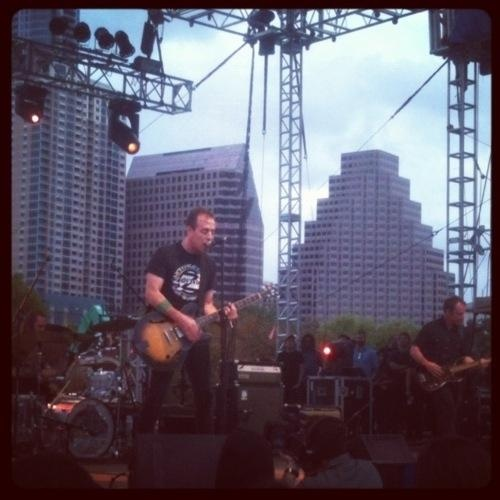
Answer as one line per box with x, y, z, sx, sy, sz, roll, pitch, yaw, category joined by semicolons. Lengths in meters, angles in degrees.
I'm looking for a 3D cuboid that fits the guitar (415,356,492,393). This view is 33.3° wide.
1.239;0.753;5.087;0.451;0.216;0.061;-18;-8;6;guitar

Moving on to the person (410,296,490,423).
1.194;0.693;5.051;0.451;0.819;0.219;1;-5;18;person

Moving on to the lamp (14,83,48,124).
-1.390;-0.923;5.311;0.181;0.275;0.129;10;-22;-36;lamp

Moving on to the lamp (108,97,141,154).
-0.808;-0.811;5.398;0.255;0.422;0.238;3;-6;2;lamp

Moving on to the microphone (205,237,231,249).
-0.197;-0.046;5.067;0.174;0.074;0.053;-21;-35;41;microphone

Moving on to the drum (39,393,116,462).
-1.020;1.075;4.995;0.428;0.367;0.164;5;-6;-12;drum
